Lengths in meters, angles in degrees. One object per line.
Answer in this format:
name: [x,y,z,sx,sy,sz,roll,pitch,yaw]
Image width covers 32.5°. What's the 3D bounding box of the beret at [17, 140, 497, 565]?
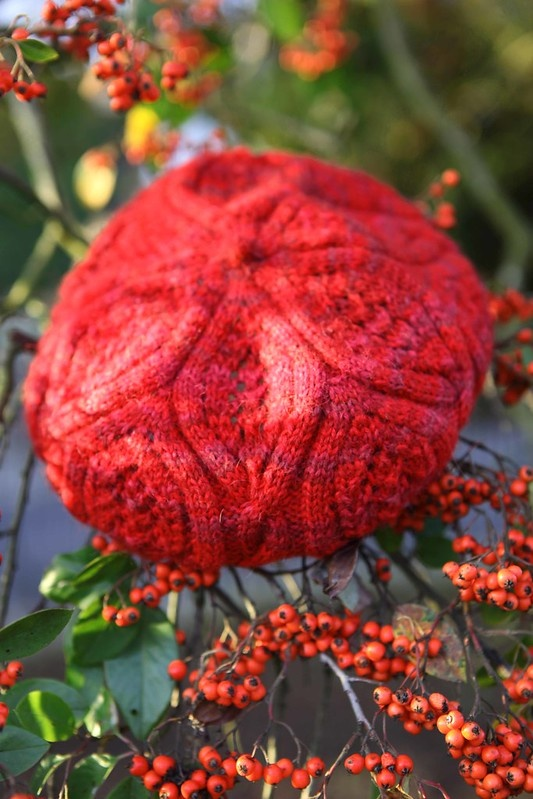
beret: [0.000,-0.039,0.721,0.322,0.174,0.358,25,60,20]
